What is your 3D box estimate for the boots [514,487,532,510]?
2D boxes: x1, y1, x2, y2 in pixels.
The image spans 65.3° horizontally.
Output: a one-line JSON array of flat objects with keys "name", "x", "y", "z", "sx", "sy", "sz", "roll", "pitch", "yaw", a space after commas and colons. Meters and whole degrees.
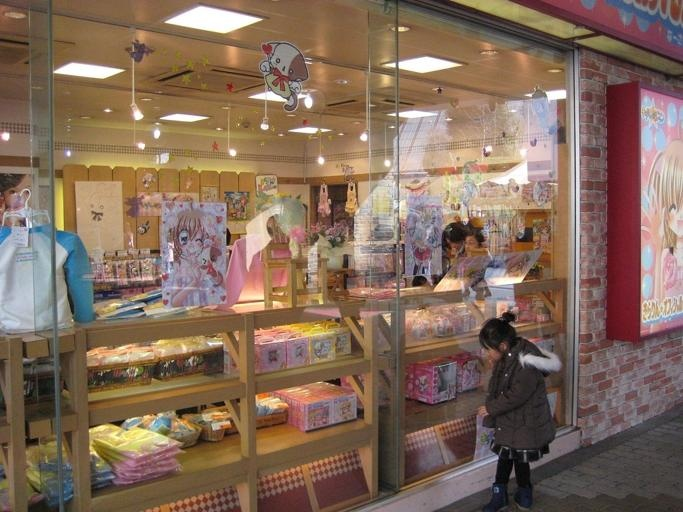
[{"name": "boots", "x": 1.273, "y": 1.694, "z": 3.713, "sx": 0.071, "sy": 0.106, "sz": 0.186, "roll": -1, "pitch": 4, "yaw": 5}]

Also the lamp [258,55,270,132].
[{"name": "lamp", "x": -0.473, "y": -0.989, "z": 3.261, "sx": 0.058, "sy": 0.440, "sz": 0.070, "roll": -3, "pitch": 5, "yaw": -7}]

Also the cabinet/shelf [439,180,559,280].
[{"name": "cabinet/shelf", "x": 1.231, "y": -0.220, "z": 4.275, "sx": 0.759, "sy": 0.752, "sz": 0.417, "roll": -3, "pitch": 10, "yaw": -29}]

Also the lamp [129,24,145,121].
[{"name": "lamp", "x": -1.161, "y": -1.023, "z": 3.013, "sx": 0.086, "sy": 0.535, "sz": 0.151, "roll": -4, "pitch": 5, "yaw": -19}]
